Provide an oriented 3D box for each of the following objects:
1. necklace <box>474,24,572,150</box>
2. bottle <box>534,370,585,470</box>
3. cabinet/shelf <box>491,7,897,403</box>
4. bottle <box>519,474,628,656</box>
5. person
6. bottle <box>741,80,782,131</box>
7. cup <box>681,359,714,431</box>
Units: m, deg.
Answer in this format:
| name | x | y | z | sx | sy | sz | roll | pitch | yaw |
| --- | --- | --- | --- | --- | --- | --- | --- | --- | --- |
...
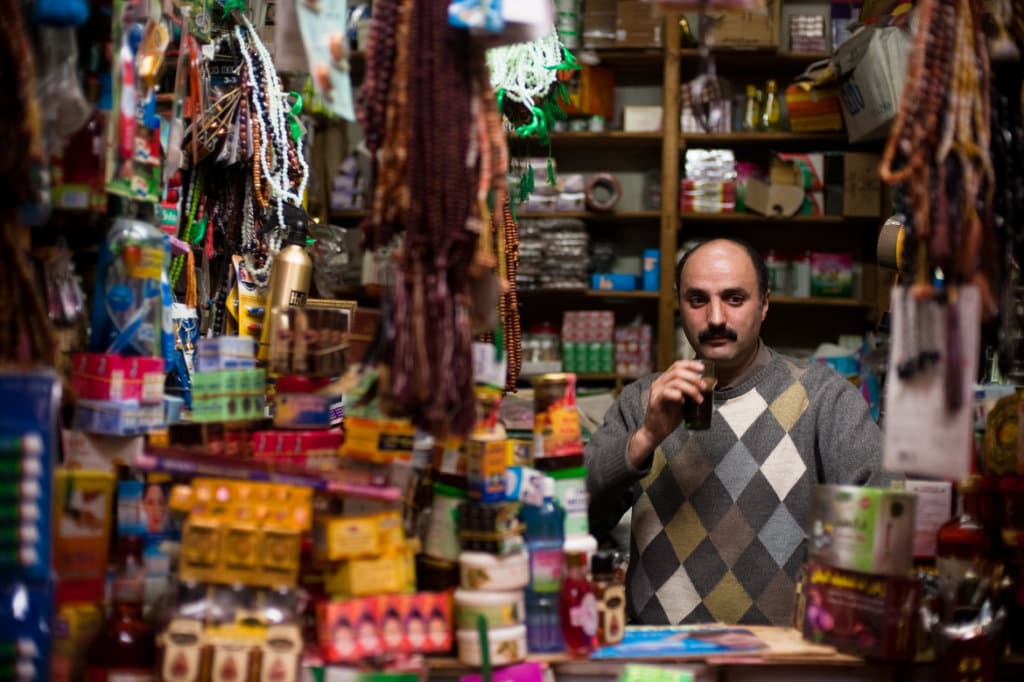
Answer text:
| name | x | y | z | sx | sy | sz | roll | pitch | yaw |
| --- | --- | --- | --- | --- | --- | --- | --- | --- | --- |
| necklace | 0.032 | -0.650 | 2.520 | 0.205 | 0.268 | 0.131 | -20 | 27 | -21 |
| bottle | 0.091 | 0.157 | 1.960 | 0.093 | 0.179 | 0.097 | 0 | 18 | 0 |
| cabinet/shelf | 0.740 | -0.546 | 3.816 | 1.695 | 1.721 | 0.522 | -1 | -3 | 2 |
| bottle | 0.108 | 0.428 | 1.965 | 0.243 | 0.369 | 0.162 | 7 | 19 | 20 |
| person | 0.605 | 0.407 | 2.786 | 0.791 | 1.418 | 0.670 | -6 | -23 | 34 |
| bottle | 1.148 | -1.073 | 4.519 | 0.169 | 0.208 | 0.339 | 7 | 20 | 19 |
| cup | 0.433 | 0.126 | 2.311 | 0.067 | 0.183 | 0.122 | 3 | 18 | 10 |
